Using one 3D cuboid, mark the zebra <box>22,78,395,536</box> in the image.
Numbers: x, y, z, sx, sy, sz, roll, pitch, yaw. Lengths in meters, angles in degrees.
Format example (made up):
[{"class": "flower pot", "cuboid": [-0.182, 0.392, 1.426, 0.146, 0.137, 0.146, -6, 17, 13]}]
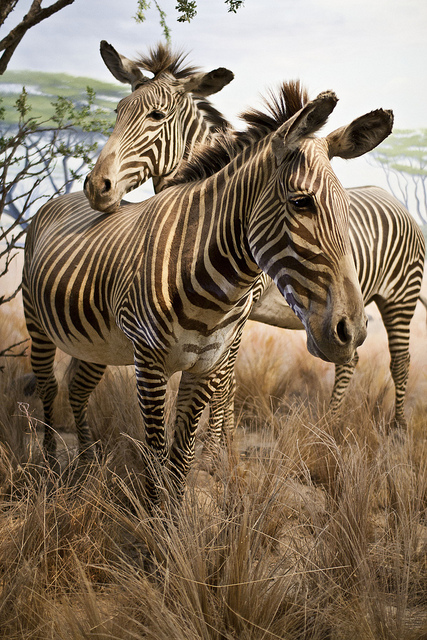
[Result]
[{"class": "zebra", "cuboid": [-0.197, 0.043, 2.385, 1.538, 1.705, 0.613, 19, 25, 36]}]
